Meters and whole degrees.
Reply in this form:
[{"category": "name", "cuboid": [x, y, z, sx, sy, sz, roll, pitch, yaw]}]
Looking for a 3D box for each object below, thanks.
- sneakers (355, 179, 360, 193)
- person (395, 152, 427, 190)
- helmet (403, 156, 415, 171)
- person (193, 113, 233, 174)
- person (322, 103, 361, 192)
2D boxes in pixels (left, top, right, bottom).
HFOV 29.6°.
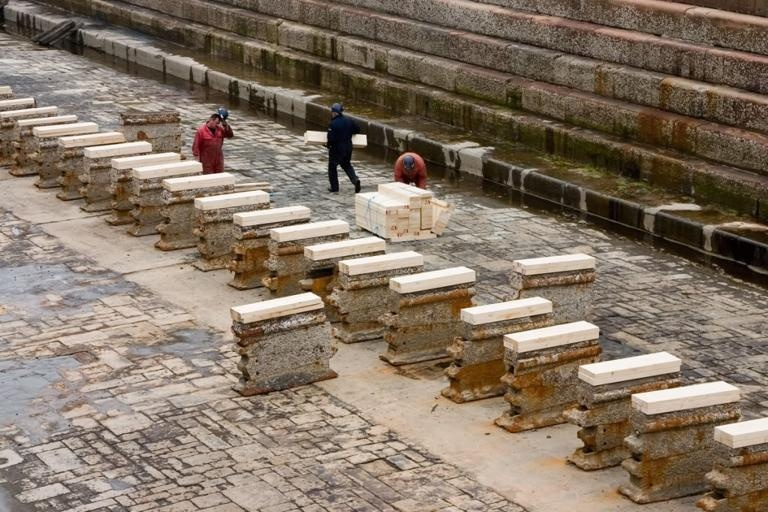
[{"category": "sneakers", "cuboid": [-0.441, -1.317, 27.004, 0.114, 0.213, 0.105, -1, 16, -23]}, {"category": "person", "cuboid": [0.503, -1.507, 25.928, 0.529, 0.715, 0.562, -2, 24, -3]}, {"category": "helmet", "cuboid": [0.470, -1.685, 25.736, 0.260, 0.203, 0.225, 1, -9, 2]}, {"category": "person", "cuboid": [-3.135, -2.064, 26.275, 0.427, 1.099, 0.873, 8, 25, 18]}, {"category": "person", "cuboid": [-0.739, -2.032, 27.001, 0.619, 1.634, 0.960, -2, 24, -1]}]
